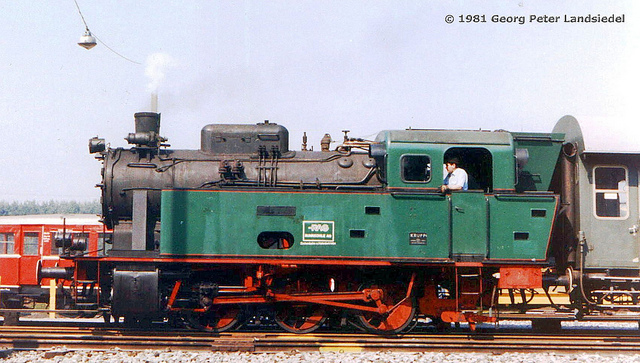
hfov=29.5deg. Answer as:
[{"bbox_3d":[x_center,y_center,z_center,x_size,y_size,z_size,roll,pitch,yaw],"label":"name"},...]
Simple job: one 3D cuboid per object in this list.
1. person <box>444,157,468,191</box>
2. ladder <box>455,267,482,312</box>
[{"bbox_3d":[4.107,-0.248,36.608,0.855,1.107,0.909,-1,-9,2],"label":"person"},{"bbox_3d":[4.475,3.231,36.513,0.790,1.330,0.568,-1,-6,7],"label":"ladder"}]
